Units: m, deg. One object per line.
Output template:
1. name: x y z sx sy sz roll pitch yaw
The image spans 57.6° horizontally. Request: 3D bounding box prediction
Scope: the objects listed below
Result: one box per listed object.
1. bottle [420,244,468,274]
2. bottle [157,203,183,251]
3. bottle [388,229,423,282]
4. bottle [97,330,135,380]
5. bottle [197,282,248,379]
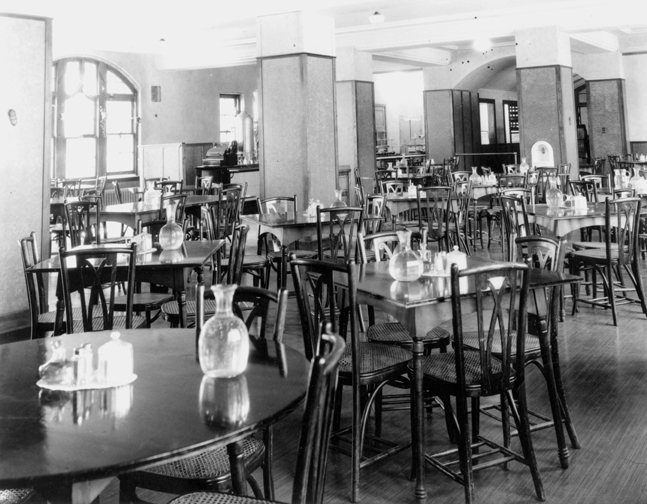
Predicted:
1. bottle: 0.664 0.046 3.264 0.235 0.189 0.140 -1 5 7
2. bottle: -1.126 -0.166 4.323 0.184 0.364 0.194 -4 -15 -1
3. bottle: 0.449 0.027 3.167 0.177 0.262 0.262 1 10 10
4. bottle: -0.688 0.342 1.984 0.133 0.218 0.137 0 0 0
5. bottle: -0.340 0.258 1.979 0.170 0.313 0.187 -1 10 0
